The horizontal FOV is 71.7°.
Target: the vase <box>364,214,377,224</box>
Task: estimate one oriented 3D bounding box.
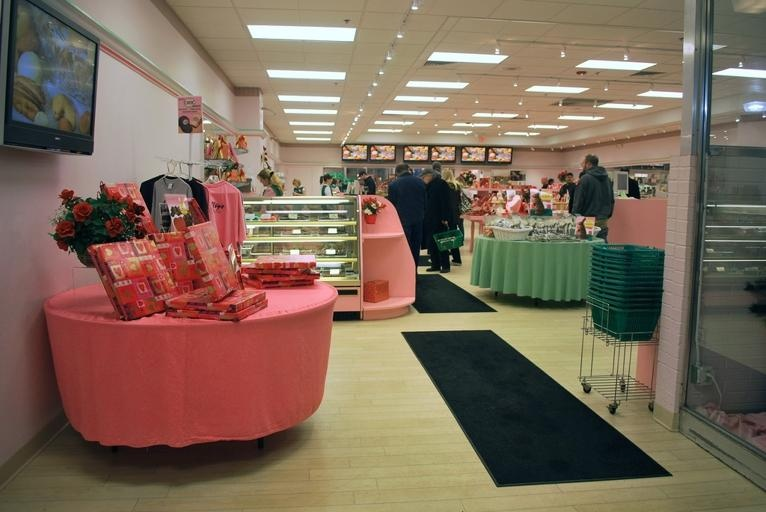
[{"bbox_3d":[-0.173,-0.490,6.984,0.123,0.086,0.121,0,1,-4],"label":"vase"}]

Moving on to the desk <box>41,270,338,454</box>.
[{"bbox_3d":[-1.340,0.787,3.769,1.403,0.618,1.381,1,5,14],"label":"desk"}]

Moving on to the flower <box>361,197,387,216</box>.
[{"bbox_3d":[-0.106,-0.660,6.992,0.133,0.234,0.388,4,10,44],"label":"flower"}]

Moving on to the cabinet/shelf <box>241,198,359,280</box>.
[{"bbox_3d":[-1.028,-0.227,6.205,1.082,0.759,0.405,0,-1,-1],"label":"cabinet/shelf"}]

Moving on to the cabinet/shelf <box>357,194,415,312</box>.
[{"bbox_3d":[0.039,-0.009,7.012,0.815,1.591,0.662,-4,7,-9],"label":"cabinet/shelf"}]

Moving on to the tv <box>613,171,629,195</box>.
[{"bbox_3d":[4.498,-1.360,9.994,0.232,0.486,0.345,0,8,20],"label":"tv"}]

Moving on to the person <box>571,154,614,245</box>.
[{"bbox_3d":[3.261,-0.907,8.173,0.711,1.298,0.299,-5,8,-17],"label":"person"}]

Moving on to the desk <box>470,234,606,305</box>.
[{"bbox_3d":[2.080,0.166,7.250,1.170,0.473,1.146,-1,4,-8],"label":"desk"}]

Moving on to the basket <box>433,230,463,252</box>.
[{"bbox_3d":[1.056,-0.259,8.624,0.407,0.335,0.512,-3,7,0],"label":"basket"}]

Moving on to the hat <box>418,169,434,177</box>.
[{"bbox_3d":[0.752,-1.469,9.269,0.170,0.183,0.141,27,2,-25],"label":"hat"}]

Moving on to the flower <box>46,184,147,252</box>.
[{"bbox_3d":[-2.125,-0.287,3.867,0.556,0.524,0.475,-6,-21,-43],"label":"flower"}]

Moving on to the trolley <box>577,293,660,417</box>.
[{"bbox_3d":[2.118,0.896,4.706,0.577,0.908,0.969,2,4,-1],"label":"trolley"}]
